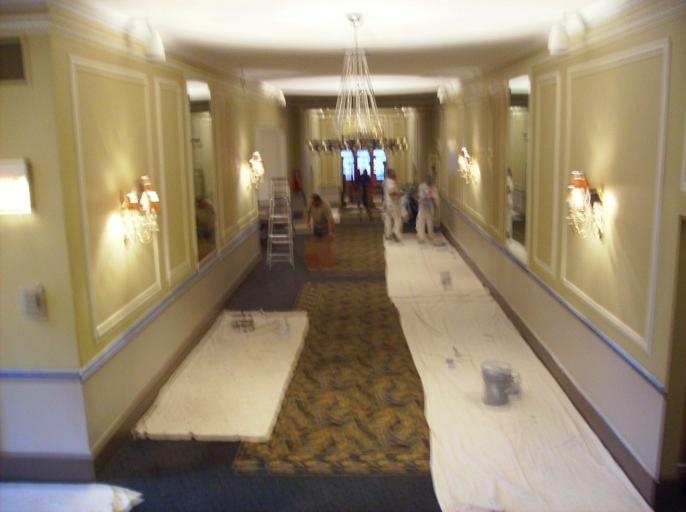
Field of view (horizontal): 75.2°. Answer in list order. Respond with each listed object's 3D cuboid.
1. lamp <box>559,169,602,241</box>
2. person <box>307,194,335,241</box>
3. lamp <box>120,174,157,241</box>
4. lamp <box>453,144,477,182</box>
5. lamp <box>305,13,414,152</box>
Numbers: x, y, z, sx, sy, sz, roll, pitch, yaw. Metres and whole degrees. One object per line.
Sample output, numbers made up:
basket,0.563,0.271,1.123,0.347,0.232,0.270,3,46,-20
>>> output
lamp,2.469,-0.517,4.626,0.299,0.688,0.732,2,15,15
person,-0.507,-0.945,10.783,0.495,1.056,0.970,-6,15,-18
lamp,-2.165,-0.478,4.888,0.304,0.754,0.747,-4,14,-9
lamp,2.880,-2.069,10.275,0.366,0.849,1.857,1,15,11
lamp,0.230,-2.544,6.633,1.459,1.893,1.378,-4,23,2
